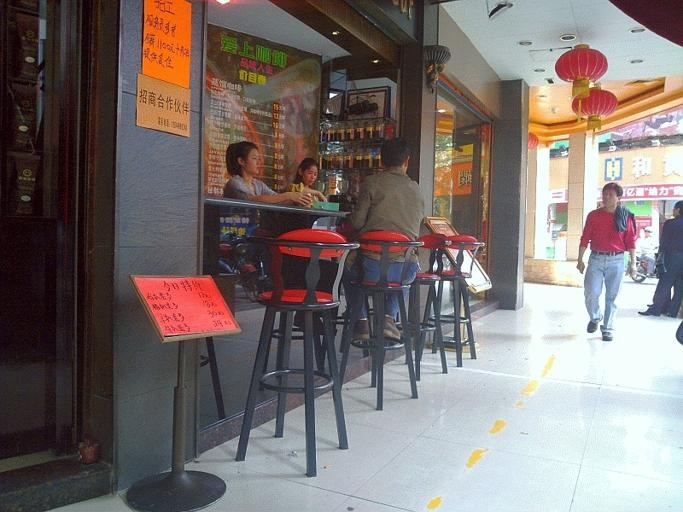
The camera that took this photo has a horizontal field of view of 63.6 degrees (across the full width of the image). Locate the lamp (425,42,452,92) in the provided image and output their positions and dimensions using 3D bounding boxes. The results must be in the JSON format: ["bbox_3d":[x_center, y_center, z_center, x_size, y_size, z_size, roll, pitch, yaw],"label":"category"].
[{"bbox_3d":[0.927,-1.907,5.496,0.385,0.446,0.382,1,12,2],"label":"lamp"}]

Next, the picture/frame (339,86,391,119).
[{"bbox_3d":[0.260,-1.579,5.610,0.406,0.240,0.059,6,6,31],"label":"picture/frame"}]

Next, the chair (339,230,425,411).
[{"bbox_3d":[0.300,0.455,4.072,0.636,1.162,0.548,-4,-3,-8],"label":"chair"}]

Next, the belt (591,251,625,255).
[{"bbox_3d":[3.068,-0.036,6.342,0.323,0.045,0.091,4,6,22],"label":"belt"}]

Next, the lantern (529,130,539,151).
[{"bbox_3d":[4.252,-2.599,12.198,0.179,0.402,0.805,3,6,17],"label":"lantern"}]

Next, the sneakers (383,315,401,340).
[{"bbox_3d":[0.422,0.582,4.443,0.093,0.104,0.252,0,-6,24],"label":"sneakers"}]

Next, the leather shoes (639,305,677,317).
[{"bbox_3d":[4.594,0.781,7.983,0.442,0.181,0.150,4,3,27],"label":"leather shoes"}]

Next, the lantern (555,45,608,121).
[{"bbox_3d":[2.739,-2.145,6.634,0.658,0.863,0.644,-4,5,-40],"label":"lantern"}]

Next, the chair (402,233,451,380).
[{"bbox_3d":[0.774,0.383,4.908,0.466,1.141,0.538,-5,0,32],"label":"chair"}]

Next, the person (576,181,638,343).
[{"bbox_3d":[3.078,0.037,6.397,0.606,1.809,0.686,4,7,24],"label":"person"}]

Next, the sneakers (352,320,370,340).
[{"bbox_3d":[0.155,0.592,4.363,0.100,0.114,0.169,1,-12,1],"label":"sneakers"}]
